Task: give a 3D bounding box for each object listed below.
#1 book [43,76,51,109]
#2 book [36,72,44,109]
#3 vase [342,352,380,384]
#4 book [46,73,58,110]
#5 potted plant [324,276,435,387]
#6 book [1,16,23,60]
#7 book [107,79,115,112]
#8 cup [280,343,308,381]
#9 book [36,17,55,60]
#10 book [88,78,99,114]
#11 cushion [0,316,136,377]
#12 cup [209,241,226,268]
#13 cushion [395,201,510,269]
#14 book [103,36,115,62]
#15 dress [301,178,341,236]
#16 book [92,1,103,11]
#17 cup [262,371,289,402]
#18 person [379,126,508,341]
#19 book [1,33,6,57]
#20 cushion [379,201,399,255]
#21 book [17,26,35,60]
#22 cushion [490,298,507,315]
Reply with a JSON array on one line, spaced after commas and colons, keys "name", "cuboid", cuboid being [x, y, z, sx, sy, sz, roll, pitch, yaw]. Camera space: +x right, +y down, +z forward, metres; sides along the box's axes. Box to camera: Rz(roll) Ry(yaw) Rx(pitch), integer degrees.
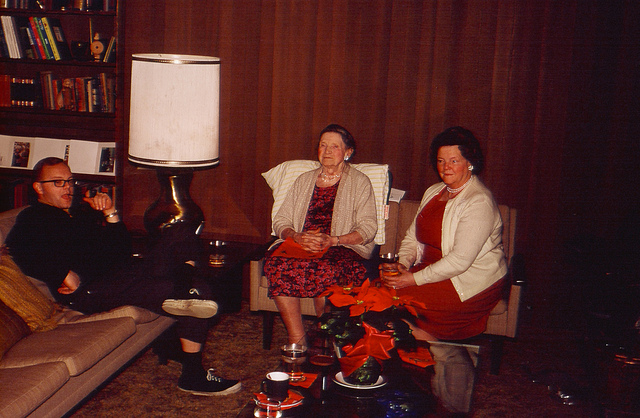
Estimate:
[{"name": "book", "cuboid": [-2.465, -1.047, 4.508, 0.033, 0.279, 0.057, -9, 16, -31]}, {"name": "book", "cuboid": [-2.529, -1.065, 4.512, 0.048, 0.312, 0.078, -4, 14, -16]}, {"name": "vase", "cuboid": [0.208, 0.808, 2.612, 0.166, 0.130, 0.178, 3, -5, -31]}, {"name": "book", "cuboid": [-2.433, -1.064, 4.531, 0.064, 0.253, 0.259, 1, 9, -9]}, {"name": "potted plant", "cuboid": [0.304, 0.603, 2.809, 0.561, 0.459, 0.561, -3, 6, -16]}, {"name": "book", "cuboid": [-2.726, -1.506, 4.434, 0.090, 0.329, 0.246, -18, 18, -14]}, {"name": "book", "cuboid": [-1.858, -1.012, 4.468, 0.068, 0.271, 0.062, 5, 15, 19]}, {"name": "cup", "cuboid": [-0.131, 0.786, 2.598, 0.162, 0.167, 0.173, 1, 1, 0]}, {"name": "book", "cuboid": [-2.414, -1.496, 4.410, 0.140, 0.354, 0.035, 8, 16, 31]}, {"name": "book", "cuboid": [-2.024, -0.996, 4.466, 0.101, 0.293, 0.082, -6, 15, -24]}, {"name": "cushion", "cuboid": [-1.423, 0.749, 2.805, 0.318, 0.075, 0.329, 5, 14, 26]}, {"name": "cup", "cuboid": [-0.742, 0.328, 3.639, 0.134, 0.207, 0.131, 0, -5, 0]}, {"name": "cushion", "cuboid": [0.983, 0.309, 3.796, 0.826, 0.635, 0.441, 2, 5, 7]}, {"name": "book", "cuboid": [-1.851, -1.392, 4.383, 0.106, 0.215, 0.054, -5, 15, -21]}, {"name": "dress", "cuboid": [0.007, -0.015, 3.743, 0.282, 0.383, 0.179, 1, 14, 2]}, {"name": "book", "cuboid": [-1.924, -1.750, 4.330, 0.088, 0.079, 0.020, 5, 4, -8]}, {"name": "cup", "cuboid": [-0.213, 0.885, 2.515, 0.141, 0.112, 0.106, 1, 10, 7]}, {"name": "person", "cuboid": [0.882, 0.183, 3.318, 0.718, 1.392, 0.619, 5, 15, 20]}, {"name": "book", "cuboid": [-2.818, -1.423, 4.437, 0.041, 0.155, 0.027, 10, 17, 35]}, {"name": "cushion", "cuboid": [0.550, 0.154, 3.952, 0.234, 0.368, 0.218, -3, -19, 4]}, {"name": "book", "cuboid": [-2.608, -1.464, 4.441, 0.057, 0.239, 0.240, -7, 22, -13]}, {"name": "cushion", "cuboid": [1.256, 0.678, 3.507, 0.103, 0.087, 0.099, 0, 4, 0]}]
